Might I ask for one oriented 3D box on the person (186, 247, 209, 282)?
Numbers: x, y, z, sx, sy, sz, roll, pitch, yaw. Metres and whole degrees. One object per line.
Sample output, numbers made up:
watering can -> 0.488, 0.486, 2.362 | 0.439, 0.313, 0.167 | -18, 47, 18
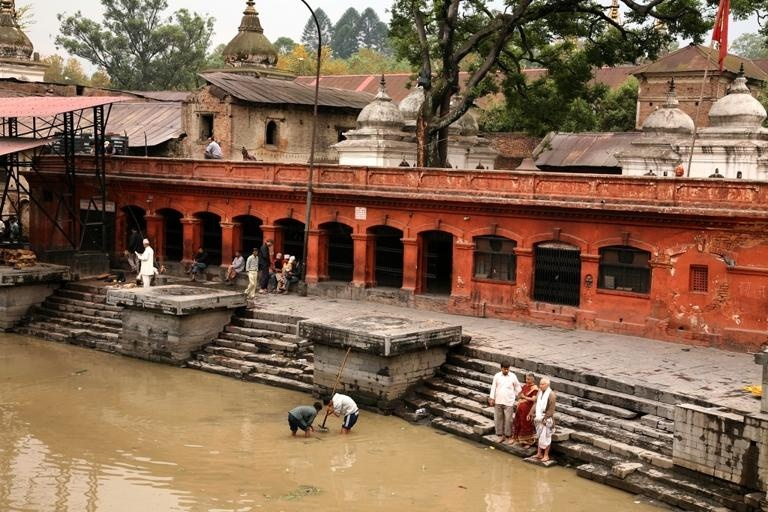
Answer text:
person -> -7.836, 0.338, 39.430 | 0.794, 1.287, 1.144 | 0, 5, -12

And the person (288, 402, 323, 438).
person -> -2.327, 4.589, 26.984 | 0.832, 1.008, 1.154 | 1, 4, -6

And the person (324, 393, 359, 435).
person -> -1.258, 4.509, 27.169 | 0.951, 1.066, 0.659 | 0, 5, -10

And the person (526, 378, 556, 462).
person -> 4.316, 4.456, 25.689 | 0.585, 2.299, 0.416 | 3, 5, 19
